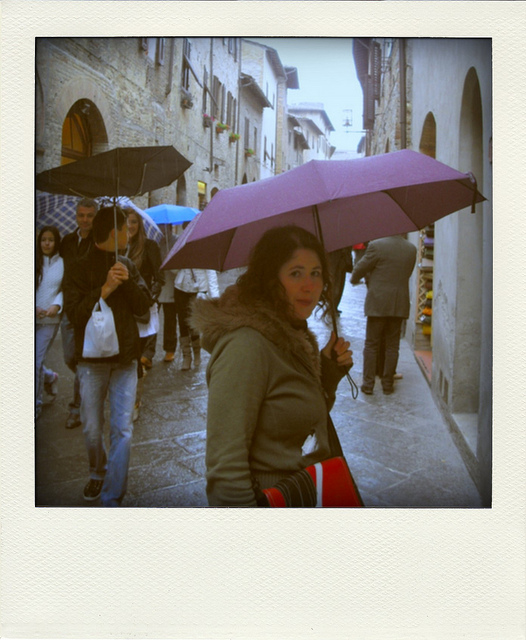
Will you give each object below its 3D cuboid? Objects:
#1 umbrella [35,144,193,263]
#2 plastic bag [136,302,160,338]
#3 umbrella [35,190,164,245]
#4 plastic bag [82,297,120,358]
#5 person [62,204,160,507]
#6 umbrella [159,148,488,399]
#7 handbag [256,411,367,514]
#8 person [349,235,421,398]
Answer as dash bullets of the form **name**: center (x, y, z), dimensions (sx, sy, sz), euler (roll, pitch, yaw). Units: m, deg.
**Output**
- **umbrella**: center (-0.901, -0.937, 3.263), dimensions (0.823, 0.964, 0.760), euler (4, 20, -5)
- **plastic bag**: center (-0.803, -0.004, 3.631), dimensions (0.196, 0.314, 0.149), euler (-5, -3, -15)
- **umbrella**: center (-1.466, -0.919, 4.288), dimensions (0.624, 0.354, 0.774), euler (1, -2, 16)
- **plastic bag**: center (-0.845, 0.027, 2.705), dimensions (0.162, 0.364, 0.107), euler (-2, 23, -19)
- **person**: center (-0.829, 0.219, 2.810), dimensions (0.404, 1.605, 0.459), euler (0, 3, -7)
- **umbrella**: center (0.187, -0.421, 2.032), dimensions (1.054, 0.892, 1.059), euler (-11, 6, -34)
- **handbag**: center (0.140, 0.412, 1.488), dimensions (0.252, 0.143, 0.388), euler (-2, 33, 1)
- **person**: center (1.163, -0.192, 5.092), dimensions (0.507, 1.878, 0.481), euler (2, 22, 7)
